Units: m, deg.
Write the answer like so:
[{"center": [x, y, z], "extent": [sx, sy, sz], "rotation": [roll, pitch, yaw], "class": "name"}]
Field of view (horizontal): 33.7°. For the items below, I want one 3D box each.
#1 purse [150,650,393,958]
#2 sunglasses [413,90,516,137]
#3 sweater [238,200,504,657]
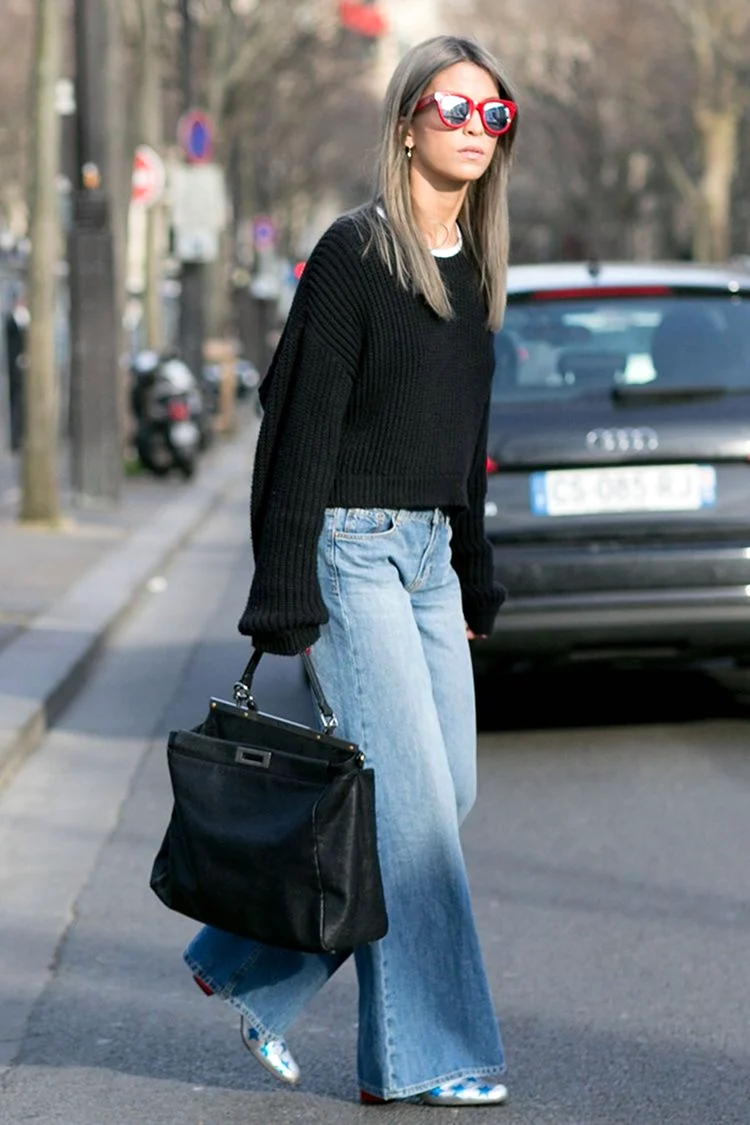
[{"center": [-0.163, 0.328, 1.805], "extent": [0.362, 0.421, 0.171], "rotation": [7, 12, 35], "class": "purse"}, {"center": [0.150, -0.692, 1.905], "extent": [0.109, 0.041, 0.103], "rotation": [3, -1, -42], "class": "sunglasses"}, {"center": [0.015, -0.196, 1.922], "extent": [0.271, 0.647, 0.572], "rotation": [2, 5, 38], "class": "sweater"}]
